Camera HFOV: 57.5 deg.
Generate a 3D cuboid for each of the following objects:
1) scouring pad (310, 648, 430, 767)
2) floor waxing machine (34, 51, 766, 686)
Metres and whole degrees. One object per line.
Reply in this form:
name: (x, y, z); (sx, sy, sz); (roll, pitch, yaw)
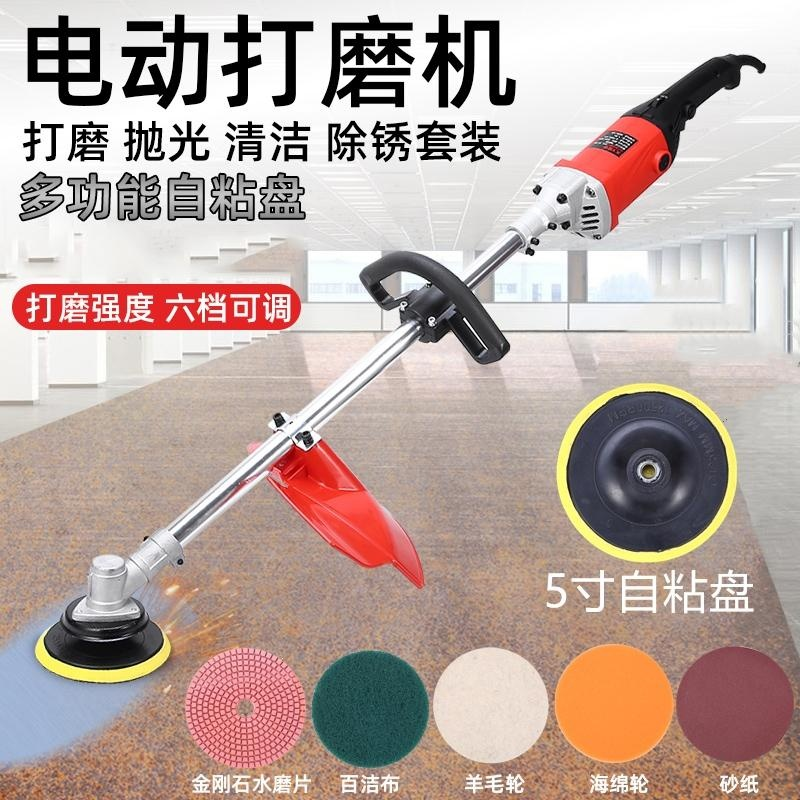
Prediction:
scouring pad: (-0.063, 0.656, 1.568); (0.243, 0.190, 0.044); (-2, -20, -8)
floor waxing machine: (0.131, -0.121, 1.276); (0.392, 1.653, 0.465); (49, -9, -1)
